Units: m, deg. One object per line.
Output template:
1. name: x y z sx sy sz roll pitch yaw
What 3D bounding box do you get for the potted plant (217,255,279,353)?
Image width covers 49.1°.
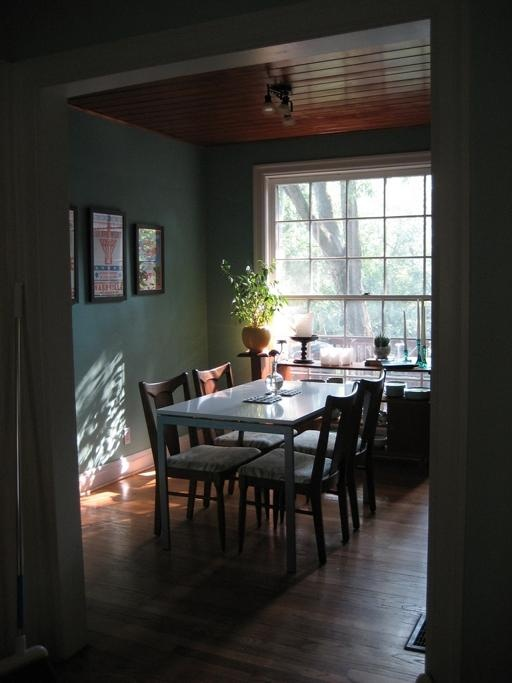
1. potted plant: -0.014 -0.329 4.945 0.512 0.845 0.576 -1 2 -9

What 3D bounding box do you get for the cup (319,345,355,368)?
1. cup: 0.668 0.118 4.678 0.202 0.122 0.165 1 3 26

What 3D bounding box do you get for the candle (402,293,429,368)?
1. candle: 1.281 -0.085 4.539 0.188 0.554 0.343 0 2 15

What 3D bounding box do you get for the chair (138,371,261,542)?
1. chair: -0.314 0.652 3.187 0.565 0.864 0.514 -1 1 22

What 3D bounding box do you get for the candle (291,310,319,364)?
1. candle: 0.392 -0.044 4.619 0.232 0.399 0.229 0 -2 36

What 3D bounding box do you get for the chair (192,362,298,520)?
1. chair: -0.020 0.617 3.732 0.606 0.917 0.582 -6 2 13

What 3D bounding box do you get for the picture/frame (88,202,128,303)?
1. picture/frame: -1.056 -0.612 3.980 0.039 0.668 0.395 0 2 22

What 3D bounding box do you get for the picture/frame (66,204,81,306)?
1. picture/frame: -1.158 -0.562 3.570 0.044 0.628 0.312 -2 2 -16

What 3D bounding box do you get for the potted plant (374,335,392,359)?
1. potted plant: 1.014 0.048 4.535 0.154 0.253 0.162 -2 3 12
